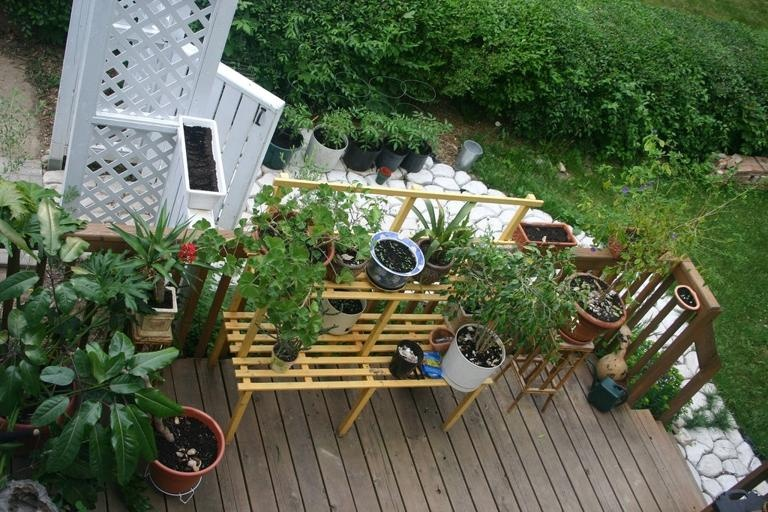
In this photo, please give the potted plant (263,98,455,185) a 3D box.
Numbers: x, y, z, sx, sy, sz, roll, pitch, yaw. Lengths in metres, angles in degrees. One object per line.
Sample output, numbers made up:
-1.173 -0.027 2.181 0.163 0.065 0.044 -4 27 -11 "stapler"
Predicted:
-0.087 -1.341 6.878 1.552 0.797 0.653 1 42 -24 "potted plant"
